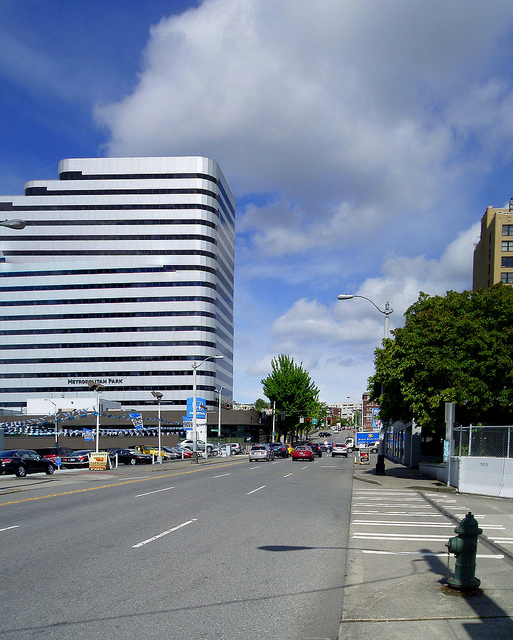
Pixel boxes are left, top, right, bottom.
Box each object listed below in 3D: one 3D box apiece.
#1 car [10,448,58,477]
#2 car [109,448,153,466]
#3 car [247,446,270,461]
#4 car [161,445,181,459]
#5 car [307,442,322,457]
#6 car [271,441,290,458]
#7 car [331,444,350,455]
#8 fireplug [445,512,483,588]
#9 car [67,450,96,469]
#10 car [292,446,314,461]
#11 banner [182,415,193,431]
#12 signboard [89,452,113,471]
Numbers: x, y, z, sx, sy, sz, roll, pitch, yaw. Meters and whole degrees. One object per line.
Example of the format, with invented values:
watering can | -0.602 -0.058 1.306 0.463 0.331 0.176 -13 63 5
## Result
car | -10.606 6.788 33.809 1.213 1.166 2.790 0 -10 0
car | -8.087 9.163 47.684 2.532 0.892 1.268 2 -9 -23
car | 0.268 9.714 52.127 1.191 1.046 1.954 -2 -10 13
car | -7.012 10.840 58.182 1.278 0.858 2.789 1 -10 -7
car | 5.190 11.544 64.080 1.560 1.104 2.738 1 -2 8
car | 1.953 11.382 62.158 0.992 0.849 2.285 -2 -7 16
car | 7.853 12.197 67.363 1.331 0.887 2.761 -1 -10 5
fireplug | 2.631 2.916 9.070 0.441 0.944 0.549 -2 -9 15
car | -10.387 8.231 42.115 1.126 1.008 2.067 1 -10 -7
car | 3.501 9.948 53.139 1.288 0.972 2.196 -3 -11 19
banner | -5.005 7.608 52.606 0.699 1.072 2.454 1 -10 -5
signboard | -8.659 7.812 39.616 1.151 0.943 1.099 0 -10 3
